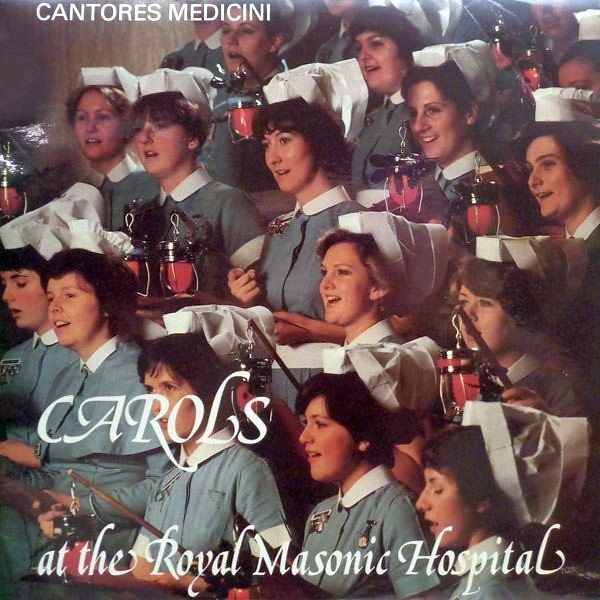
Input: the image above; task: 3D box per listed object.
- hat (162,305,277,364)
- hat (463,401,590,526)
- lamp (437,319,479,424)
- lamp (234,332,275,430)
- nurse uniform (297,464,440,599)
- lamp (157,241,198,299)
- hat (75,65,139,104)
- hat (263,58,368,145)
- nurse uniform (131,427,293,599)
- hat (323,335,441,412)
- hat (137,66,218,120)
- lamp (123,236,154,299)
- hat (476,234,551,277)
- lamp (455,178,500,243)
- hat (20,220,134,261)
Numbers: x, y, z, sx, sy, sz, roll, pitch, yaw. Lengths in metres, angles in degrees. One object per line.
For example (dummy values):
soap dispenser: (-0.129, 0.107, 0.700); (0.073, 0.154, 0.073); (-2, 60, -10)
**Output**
hat: (-0.261, 0.106, 2.443); (0.263, 0.104, 0.202); (-2, 53, -20)
hat: (0.744, 0.524, 2.370); (0.420, 0.365, 0.187); (-4, 27, -3)
lamp: (0.507, 0.253, 2.361); (0.157, 0.234, 0.122); (-20, 32, -29)
lamp: (-0.195, 0.254, 2.391); (0.182, 0.124, 0.308); (1, 30, 5)
nurse uniform: (0.241, 0.743, 2.354); (0.404, 0.373, 0.202); (-3, -8, 35)
lamp: (-0.404, -0.100, 2.429); (0.166, 0.223, 0.152); (0, -2, -27)
hat: (-0.653, -0.736, 2.495); (0.167, 0.079, 0.130); (2, 3, 17)
hat: (0.044, -0.690, 2.512); (0.323, 0.253, 0.168); (-3, 5, 0)
nurse uniform: (-0.265, 0.711, 2.382); (0.438, 0.399, 0.226); (-18, -15, 17)
hat: (0.297, 0.227, 2.357); (0.253, 0.125, 0.257); (3, 8, -5)
hat: (-0.404, -0.729, 2.566); (0.185, 0.122, 0.247); (1, -5, 10)
lamp: (-0.539, -0.109, 2.443); (0.094, 0.157, 0.122); (-4, 27, -1)
hat: (0.692, -0.142, 2.413); (0.178, 0.085, 0.139); (4, 0, -3)
lamp: (0.610, -0.314, 2.479); (0.157, 0.213, 0.164); (-15, 23, -20)
hat: (-0.739, -0.204, 2.467); (0.355, 0.105, 0.085); (0, 27, 5)
